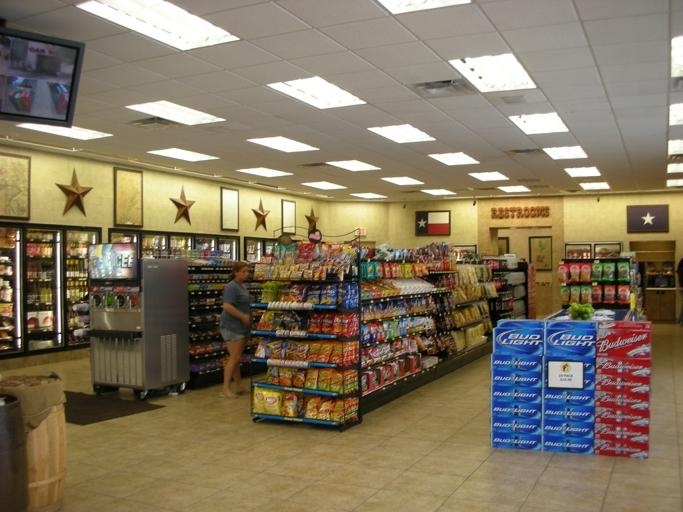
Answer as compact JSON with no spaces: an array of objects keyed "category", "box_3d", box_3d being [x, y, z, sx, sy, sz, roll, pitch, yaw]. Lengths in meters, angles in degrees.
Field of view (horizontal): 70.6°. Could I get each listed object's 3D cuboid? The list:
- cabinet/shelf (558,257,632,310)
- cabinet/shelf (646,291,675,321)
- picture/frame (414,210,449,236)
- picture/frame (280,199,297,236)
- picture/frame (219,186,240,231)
[{"category":"cabinet/shelf","box_3d":[4.237,0.385,8.298,1.584,1.080,0.892,1,2,17]},{"category":"cabinet/shelf","box_3d":[10.174,1.557,15.292,0.821,1.148,0.410,-1,0,31]},{"category":"picture/frame","box_3d":[3.497,-1.263,18.472,1.190,0.741,0.083,0,-3,17]},{"category":"picture/frame","box_3d":[-1.786,-1.324,16.467,0.373,1.127,0.951,-1,0,17]},{"category":"picture/frame","box_3d":[-3.330,-1.366,14.198,0.047,1.169,0.752,-1,0,32]}]
